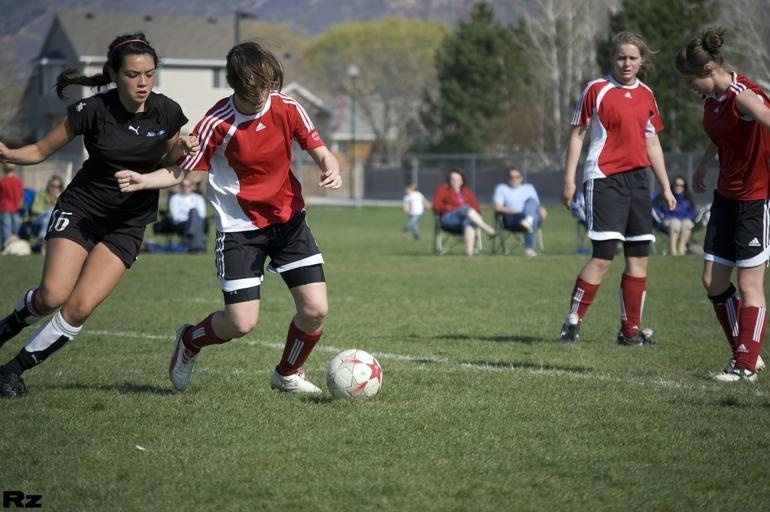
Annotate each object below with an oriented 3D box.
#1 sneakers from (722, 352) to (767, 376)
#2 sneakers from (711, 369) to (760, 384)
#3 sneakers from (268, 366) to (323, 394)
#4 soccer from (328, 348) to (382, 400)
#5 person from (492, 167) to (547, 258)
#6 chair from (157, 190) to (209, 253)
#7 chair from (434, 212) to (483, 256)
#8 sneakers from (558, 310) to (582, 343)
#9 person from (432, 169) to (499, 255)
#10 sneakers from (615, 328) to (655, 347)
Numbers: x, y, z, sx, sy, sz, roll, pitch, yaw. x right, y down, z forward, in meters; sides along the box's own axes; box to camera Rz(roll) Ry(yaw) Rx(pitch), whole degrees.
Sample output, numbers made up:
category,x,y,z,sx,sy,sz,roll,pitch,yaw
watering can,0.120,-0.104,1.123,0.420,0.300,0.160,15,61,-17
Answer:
category,x,y,z,sx,sy,sz,roll,pitch,yaw
sneakers,3.837,1.124,13.189,0.602,0.258,0.199,4,-9,-33
sneakers,3.632,1.235,12.994,0.473,0.183,0.170,2,-4,-1
sneakers,-0.944,1.267,12.817,0.579,0.253,0.212,5,6,-10
soccer,-0.343,1.178,12.794,0.394,0.560,0.755,0,0,-17
person,1.446,-0.482,13.711,0.552,0.930,0.765,1,1,0
chair,-3.831,-0.614,22.770,1.031,1.054,1.189,-1,3,17
chair,0.761,-0.204,13.225,0.544,0.362,0.213,4,15,13
sneakers,2.112,0.812,14.275,0.264,0.303,0.667,-1,-8,8
person,0.760,-0.459,13.477,0.686,0.892,1.038,0,-3,-11
sneakers,2.815,0.916,14.095,0.443,0.194,0.166,-2,4,10
